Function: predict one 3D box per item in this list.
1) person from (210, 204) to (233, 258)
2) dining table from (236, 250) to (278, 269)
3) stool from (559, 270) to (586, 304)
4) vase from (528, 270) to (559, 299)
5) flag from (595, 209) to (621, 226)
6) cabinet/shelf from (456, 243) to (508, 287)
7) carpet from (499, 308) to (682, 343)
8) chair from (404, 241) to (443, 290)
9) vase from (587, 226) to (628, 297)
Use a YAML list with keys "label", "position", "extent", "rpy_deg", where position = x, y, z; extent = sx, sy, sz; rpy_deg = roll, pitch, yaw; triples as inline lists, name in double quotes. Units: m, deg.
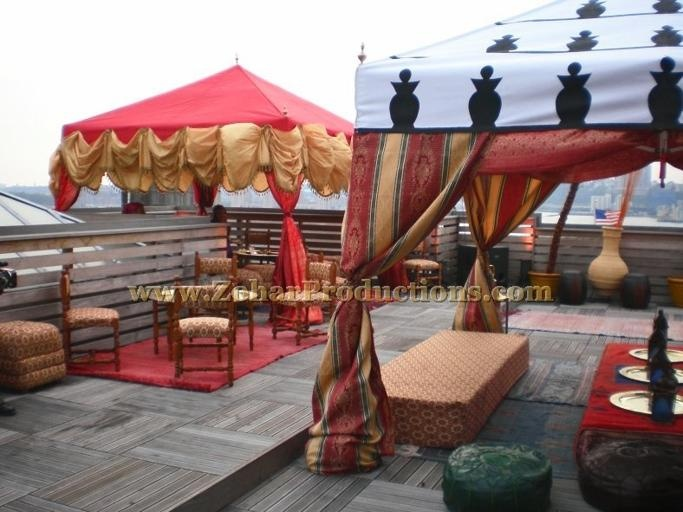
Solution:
- label: "person"
  position: [-1.845, -0.391, 7.979]
  extent: [0.269, 0.846, 1.665]
  rpy_deg: [-2, 3, -11]
- label: "dining table"
  position: [-1.364, 0.066, 8.358]
  extent: [0.619, 0.301, 1.765]
  rpy_deg: [-2, 3, -14]
- label: "stool"
  position: [4.024, 0.590, 9.124]
  extent: [0.512, 0.668, 0.536]
  rpy_deg: [2, -4, -20]
- label: "vase"
  position: [3.356, 0.484, 8.401]
  extent: [0.531, 0.389, 0.522]
  rpy_deg: [1, -1, 1]
- label: "flag"
  position: [4.866, -0.685, 9.255]
  extent: [0.023, 0.208, 0.300]
  rpy_deg: [8, 5, -29]
- label: "cabinet/shelf"
  position: [2.732, 0.200, 9.943]
  extent: [1.020, 0.786, 1.133]
  rpy_deg: [1, 4, 20]
- label: "carpet"
  position: [3.669, 0.991, 7.843]
  extent: [1.953, 0.090, 2.015]
  rpy_deg: [1, 4, 27]
- label: "chair"
  position: [1.554, 0.171, 9.547]
  extent: [0.663, 0.902, 1.045]
  rpy_deg: [0, 4, 11]
- label: "vase"
  position: [4.742, 0.094, 9.075]
  extent: [0.606, 1.204, 0.302]
  rpy_deg: [1, 4, 25]
